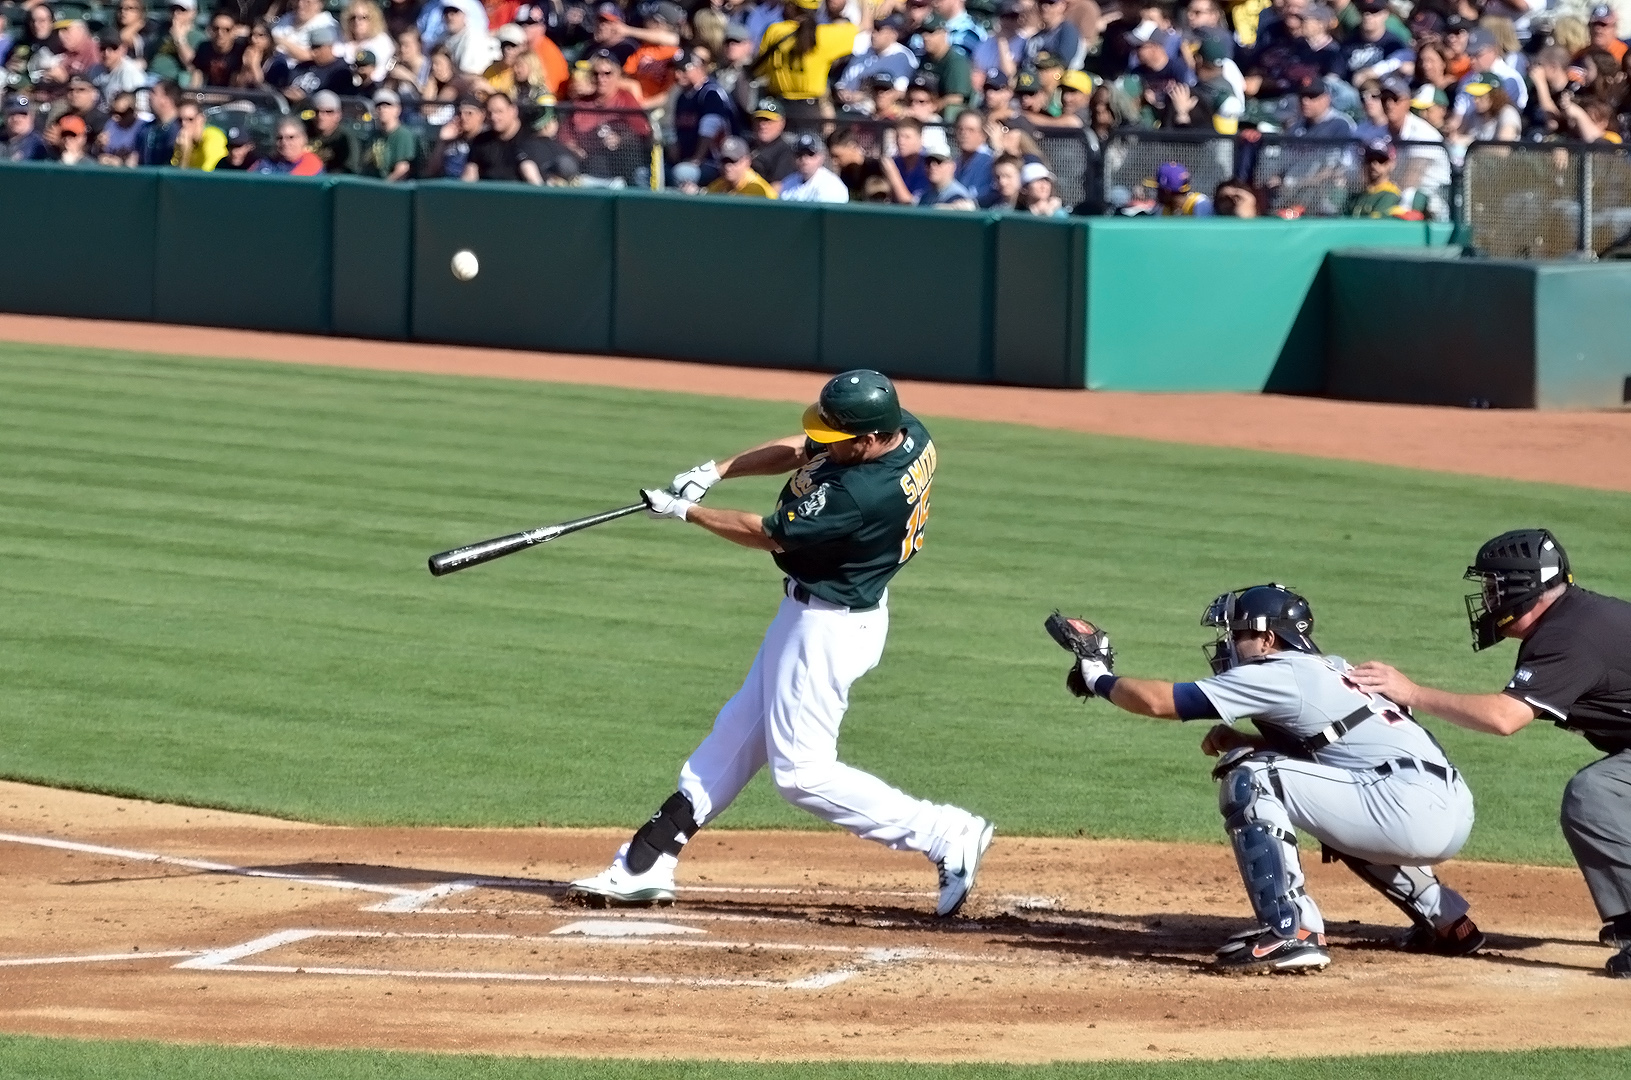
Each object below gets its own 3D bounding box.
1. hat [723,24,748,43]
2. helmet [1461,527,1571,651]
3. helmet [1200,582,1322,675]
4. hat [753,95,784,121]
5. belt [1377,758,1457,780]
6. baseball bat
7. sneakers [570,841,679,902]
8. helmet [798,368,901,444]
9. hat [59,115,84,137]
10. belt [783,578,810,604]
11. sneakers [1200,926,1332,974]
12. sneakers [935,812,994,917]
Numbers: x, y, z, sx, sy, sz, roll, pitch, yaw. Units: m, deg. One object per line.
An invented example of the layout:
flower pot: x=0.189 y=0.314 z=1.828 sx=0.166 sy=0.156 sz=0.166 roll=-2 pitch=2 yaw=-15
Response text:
hat: x=-0.743 y=-4.709 z=28.477 sx=0.219 sy=0.171 sz=0.151 roll=-16 pitch=37 yaw=-1
helmet: x=3.819 y=0.237 z=16.503 sx=0.622 sy=0.522 sz=0.473 roll=-10 pitch=-3 yaw=13
helmet: x=2.420 y=0.458 z=16.551 sx=0.702 sy=0.437 sz=0.536 roll=0 pitch=5 yaw=16
hat: x=-0.414 y=-3.682 z=26.130 sx=0.342 sy=0.152 sz=0.458 roll=6 pitch=8 yaw=1
belt: x=3.210 y=1.203 z=16.305 sx=0.231 sy=0.062 sz=0.196 roll=-2 pitch=2 yaw=-15
baseball bat: x=-1.777 y=-0.040 z=20.806 sx=1.689 sy=0.170 sz=0.176 roll=-14 pitch=42 yaw=-12
sneakers: x=-1.029 y=1.869 z=17.087 sx=0.683 sy=0.269 sz=0.237 roll=2 pitch=1 yaw=-1
helmet: x=0.205 y=-0.714 z=16.577 sx=0.523 sy=0.401 sz=0.359 roll=3 pitch=3 yaw=0
hat: x=-6.884 y=-3.834 z=28.226 sx=0.263 sy=0.183 sz=0.125 roll=4 pitch=3 yaw=17
belt: x=-0.105 y=0.275 z=16.668 sx=0.139 sy=0.052 sz=0.110 roll=34 pitch=2 yaw=21
sneakers: x=2.415 y=2.158 z=16.204 sx=0.569 sy=0.193 sz=0.251 roll=0 pitch=-2 yaw=4
sneakers: x=0.819 y=1.758 z=16.943 sx=0.307 sy=0.610 sz=0.223 roll=18 pitch=5 yaw=-14
